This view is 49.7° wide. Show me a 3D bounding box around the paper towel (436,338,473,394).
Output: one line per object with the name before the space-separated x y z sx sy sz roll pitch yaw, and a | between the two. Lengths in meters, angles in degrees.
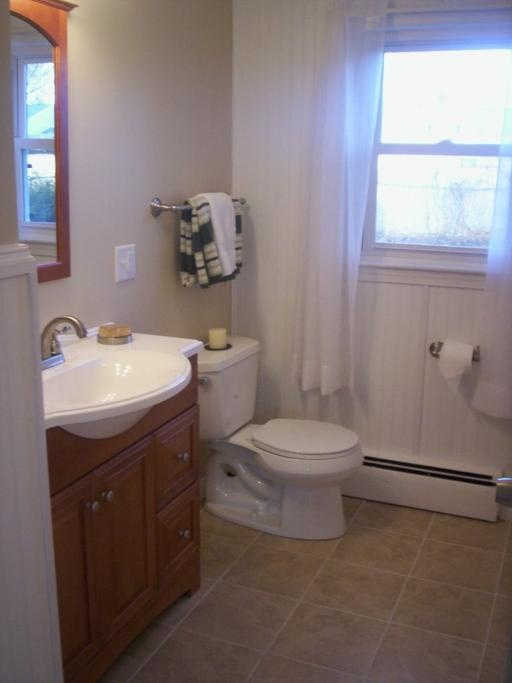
paper towel | 0.764 0.086 2.123 0.058 0.193 0.126 -5 23 -44

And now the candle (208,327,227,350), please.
candle | -0.148 -0.010 2.144 0.062 0.087 0.076 1 22 2

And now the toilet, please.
toilet | 0.072 0.346 2.159 0.608 0.780 0.434 4 24 12

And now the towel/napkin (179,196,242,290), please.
towel/napkin | -0.146 -0.376 1.993 0.128 0.329 0.266 15 26 35

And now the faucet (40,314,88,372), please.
faucet | -0.445 0.005 1.254 0.087 0.135 0.123 6 6 2

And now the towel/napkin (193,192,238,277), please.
towel/napkin | -0.145 -0.389 2.009 0.177 0.313 0.148 -14 23 -29
